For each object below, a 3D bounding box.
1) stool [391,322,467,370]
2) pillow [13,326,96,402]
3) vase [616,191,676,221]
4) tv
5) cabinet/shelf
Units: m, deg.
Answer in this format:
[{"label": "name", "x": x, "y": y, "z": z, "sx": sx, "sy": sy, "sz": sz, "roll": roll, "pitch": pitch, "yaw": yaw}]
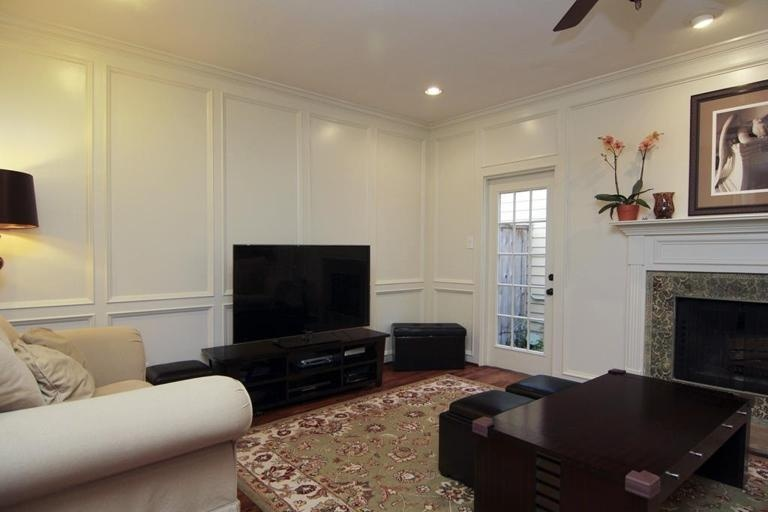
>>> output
[{"label": "stool", "x": 0.516, "y": 1.050, "z": 5.526, "sx": 0.795, "sy": 0.474, "sz": 0.153, "roll": 0, "pitch": 12, "yaw": 0}, {"label": "pillow", "x": -1.995, "y": 0.623, "z": 2.937, "sx": 0.150, "sy": 0.493, "sz": 0.416, "roll": -40, "pitch": -19, "yaw": 3}, {"label": "vase", "x": 2.359, "y": -0.448, "z": 4.510, "sx": 0.198, "sy": 0.252, "sz": 0.500, "roll": 2, "pitch": -5, "yaw": -40}, {"label": "tv", "x": -0.758, "y": 0.351, "z": 4.762, "sx": 1.546, "sy": 0.898, "sz": 0.055, "roll": -1, "pitch": 1, "yaw": -41}, {"label": "cabinet/shelf", "x": -0.664, "y": 1.088, "z": 4.702, "sx": 1.543, "sy": 0.537, "sz": 0.506, "roll": -9, "pitch": 6, "yaw": -11}]
